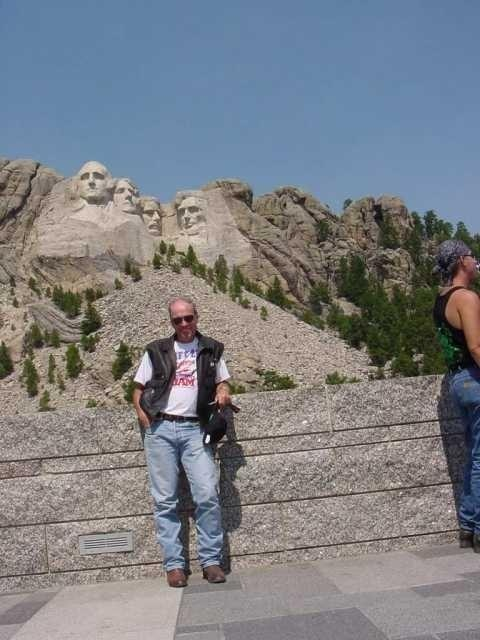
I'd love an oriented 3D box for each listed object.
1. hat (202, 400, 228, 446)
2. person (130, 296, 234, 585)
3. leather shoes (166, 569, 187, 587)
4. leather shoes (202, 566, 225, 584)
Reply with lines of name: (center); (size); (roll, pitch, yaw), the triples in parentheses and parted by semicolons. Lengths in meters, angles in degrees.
hat: (-0.193, 0.751, 6.387); (0.192, 0.155, 0.385); (0, 19, -4)
person: (-0.376, 0.880, 6.427); (0.706, 2.063, 0.660); (-8, 5, -8)
leather shoes: (-0.453, 1.836, 6.239); (0.135, 0.114, 0.140); (-6, 4, -3)
leather shoes: (-0.179, 1.818, 6.253); (0.094, 0.072, 0.185); (4, -19, -17)
